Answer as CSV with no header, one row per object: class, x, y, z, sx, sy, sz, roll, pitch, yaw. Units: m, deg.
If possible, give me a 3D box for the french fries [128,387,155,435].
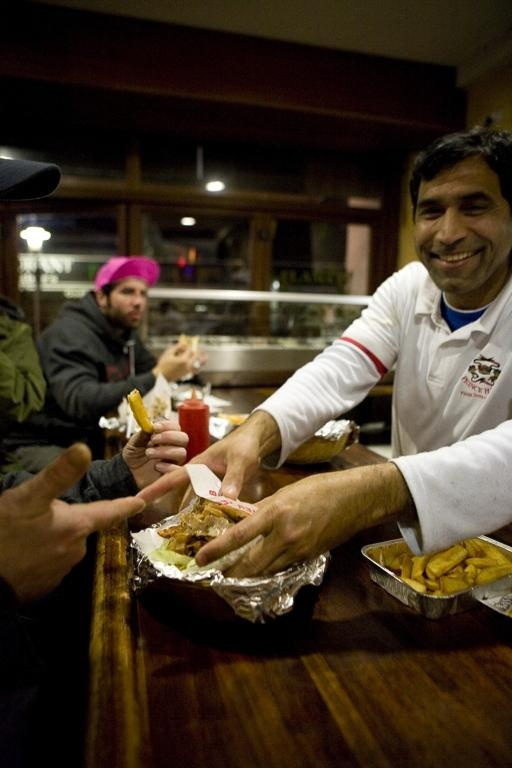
french fries,-0.187,0.049,0.980,0.023,0.077,0.041,-19,25,0
